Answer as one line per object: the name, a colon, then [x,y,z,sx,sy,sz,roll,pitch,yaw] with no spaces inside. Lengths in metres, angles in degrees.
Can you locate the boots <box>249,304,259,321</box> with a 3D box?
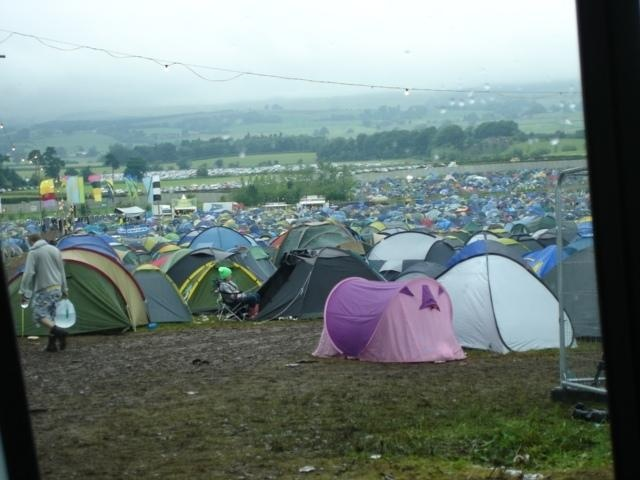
boots: [-1.333,1.467,12.762,0.263,0.266,0.254,-4,-5,31]

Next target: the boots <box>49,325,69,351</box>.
boots: [-3.908,1.484,9.518,0.335,0.471,0.170,0,12,-1]

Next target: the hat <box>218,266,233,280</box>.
hat: [-1.919,0.676,12.878,0.299,0.236,0.230,-5,29,-3]

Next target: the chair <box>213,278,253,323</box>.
chair: [-1.689,1.138,12.929,0.736,1.136,0.720,-7,6,-16]
